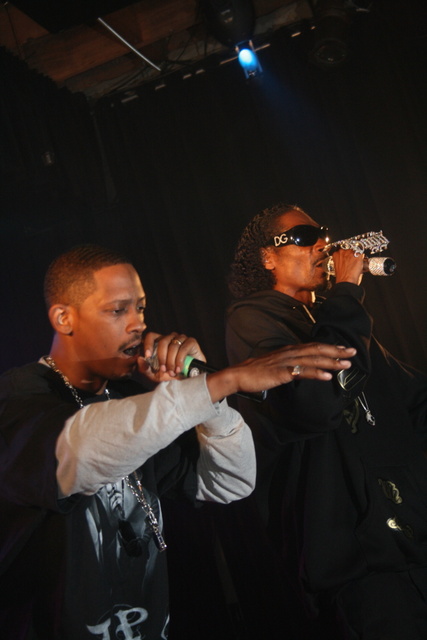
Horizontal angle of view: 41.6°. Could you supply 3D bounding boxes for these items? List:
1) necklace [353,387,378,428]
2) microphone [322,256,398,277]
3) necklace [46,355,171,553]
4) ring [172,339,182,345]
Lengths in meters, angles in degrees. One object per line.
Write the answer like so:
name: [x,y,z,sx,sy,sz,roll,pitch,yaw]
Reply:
necklace: [0.614,0.357,2.281,0.054,0.014,0.164,-21,51,-13]
microphone: [0.633,-0.223,2.466,0.098,0.085,0.333,1,0,-31]
necklace: [-0.392,0.352,1.917,0.238,0.859,0.070,-29,-15,-2]
ring: [-0.104,0.063,1.640,0.015,0.020,0.020,-24,34,-31]
